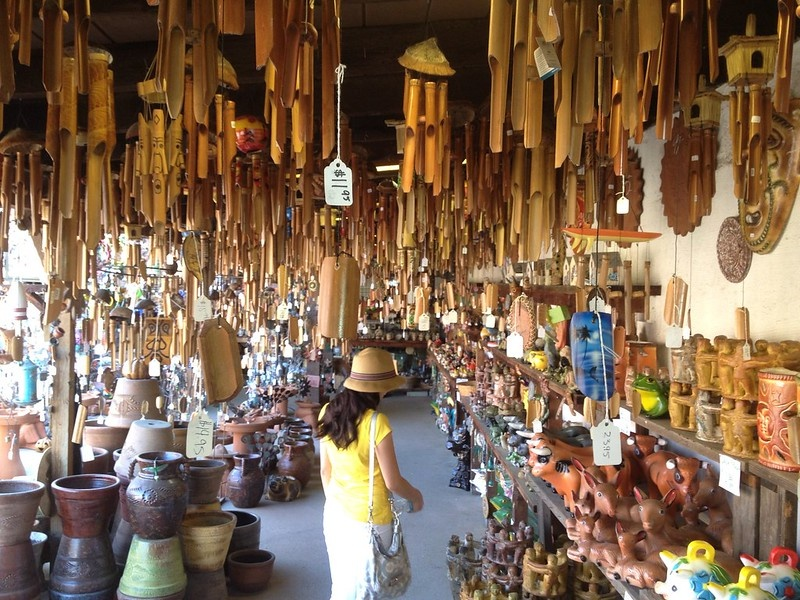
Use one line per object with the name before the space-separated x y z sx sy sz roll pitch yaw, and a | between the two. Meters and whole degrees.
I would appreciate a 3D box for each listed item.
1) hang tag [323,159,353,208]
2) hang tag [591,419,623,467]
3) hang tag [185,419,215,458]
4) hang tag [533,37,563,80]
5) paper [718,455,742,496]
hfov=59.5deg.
hang tag | -0.176 -0.336 1.992 0.073 0.141 0.159 0 -2 -6
hang tag | 0.672 0.467 2.276 0.084 0.167 0.146 -1 -2 25
hang tag | -0.814 0.562 2.851 0.076 0.180 0.168 0 -2 9
hang tag | 0.319 -0.521 1.538 0.058 0.095 0.025 -14 -1 15
paper | 0.962 0.512 2.038 0.056 0.128 0.082 -1 -2 27
